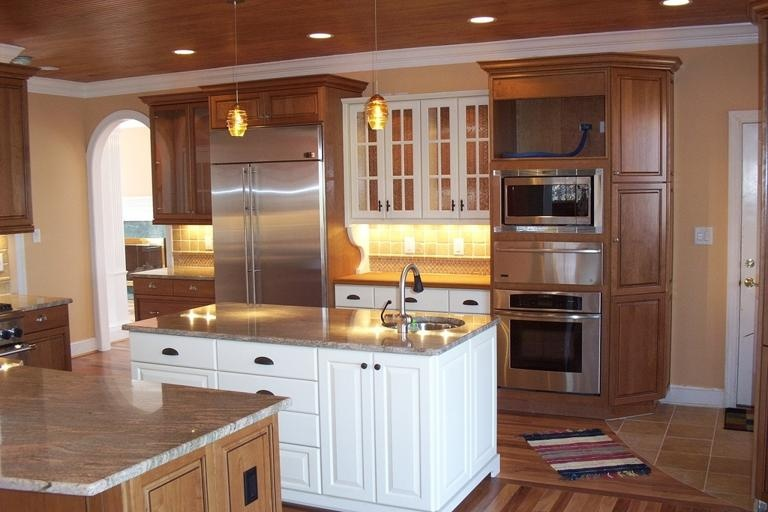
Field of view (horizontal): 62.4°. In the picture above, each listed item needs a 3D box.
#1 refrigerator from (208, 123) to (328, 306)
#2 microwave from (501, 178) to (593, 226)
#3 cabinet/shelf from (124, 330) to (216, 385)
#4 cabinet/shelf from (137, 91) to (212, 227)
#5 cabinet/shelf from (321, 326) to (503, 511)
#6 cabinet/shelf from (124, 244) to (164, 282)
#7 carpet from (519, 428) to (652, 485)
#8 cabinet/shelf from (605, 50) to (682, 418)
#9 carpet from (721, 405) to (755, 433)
[{"bbox_3d":[-1.221,-0.409,6.521,1.346,1.810,0.394,3,15,22],"label":"refrigerator"},{"bbox_3d":[1.478,-0.477,5.767,1.018,0.382,0.482,1,1,19],"label":"microwave"},{"bbox_3d":[-1.470,0.641,4.668,0.715,0.488,0.435,1,1,20],"label":"cabinet/shelf"},{"bbox_3d":[-2.296,-1.086,7.108,0.853,1.431,0.283,3,15,25],"label":"cabinet/shelf"},{"bbox_3d":[-0.006,1.122,4.775,1.388,1.080,1.302,-1,-1,29],"label":"cabinet/shelf"},{"bbox_3d":[-3.377,0.092,8.831,0.770,0.513,0.214,-1,2,-11],"label":"cabinet/shelf"},{"bbox_3d":[1.639,1.604,5.165,0.780,0.025,0.798,-3,10,-8],"label":"carpet"},{"bbox_3d":[2.344,-0.163,5.701,0.844,3.181,0.596,-4,14,-4],"label":"cabinet/shelf"},{"bbox_3d":[3.212,1.479,5.732,0.271,0.014,0.412,0,3,16],"label":"carpet"}]
